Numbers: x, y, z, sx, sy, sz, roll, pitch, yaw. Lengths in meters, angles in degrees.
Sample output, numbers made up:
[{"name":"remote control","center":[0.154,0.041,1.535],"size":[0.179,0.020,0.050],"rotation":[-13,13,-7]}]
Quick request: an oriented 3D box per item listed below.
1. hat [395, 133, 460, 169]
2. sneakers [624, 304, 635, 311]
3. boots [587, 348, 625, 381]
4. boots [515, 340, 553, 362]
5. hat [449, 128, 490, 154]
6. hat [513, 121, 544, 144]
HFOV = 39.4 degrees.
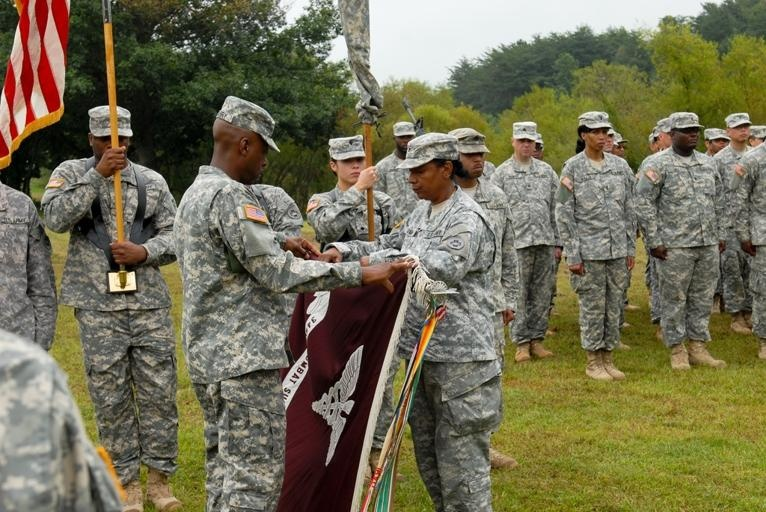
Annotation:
[{"name":"hat","center":[0.464,-1.120,11.292],"size":[0.756,0.346,0.508],"rotation":[-9,8,-12]},{"name":"sneakers","center":[4.351,0.892,18.830],"size":[0.091,0.154,0.242],"rotation":[-9,2,-31]},{"name":"boots","center":[3.074,1.540,15.091],"size":[0.332,0.483,0.541],"rotation":[3,-4,-43]},{"name":"boots","center":[2.204,1.406,15.943],"size":[0.246,0.449,0.700],"rotation":[0,-5,-32]},{"name":"hat","center":[0.998,-1.368,12.689],"size":[0.425,0.174,0.308],"rotation":[7,9,44]},{"name":"hat","center":[2.109,-1.920,15.962],"size":[0.448,0.279,0.562],"rotation":[2,-2,-1]}]
